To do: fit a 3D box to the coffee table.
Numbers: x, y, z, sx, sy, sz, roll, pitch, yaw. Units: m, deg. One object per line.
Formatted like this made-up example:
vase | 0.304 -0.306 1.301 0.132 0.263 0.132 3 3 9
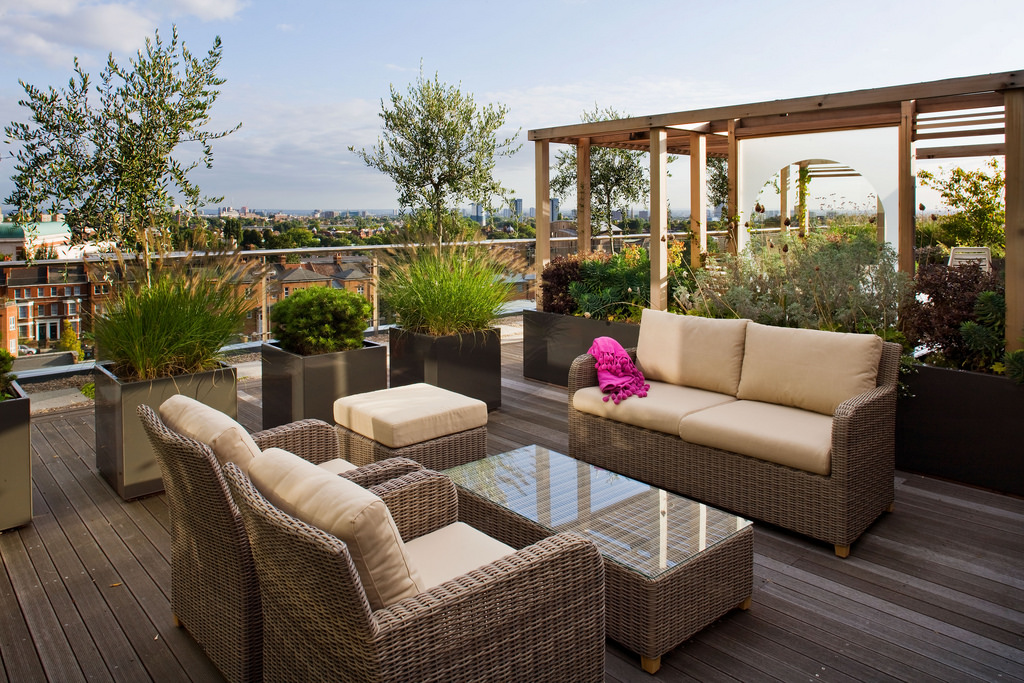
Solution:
coffee table | 0.664 1.069 3.538 0.870 0.444 1.597 -11 15 -40
